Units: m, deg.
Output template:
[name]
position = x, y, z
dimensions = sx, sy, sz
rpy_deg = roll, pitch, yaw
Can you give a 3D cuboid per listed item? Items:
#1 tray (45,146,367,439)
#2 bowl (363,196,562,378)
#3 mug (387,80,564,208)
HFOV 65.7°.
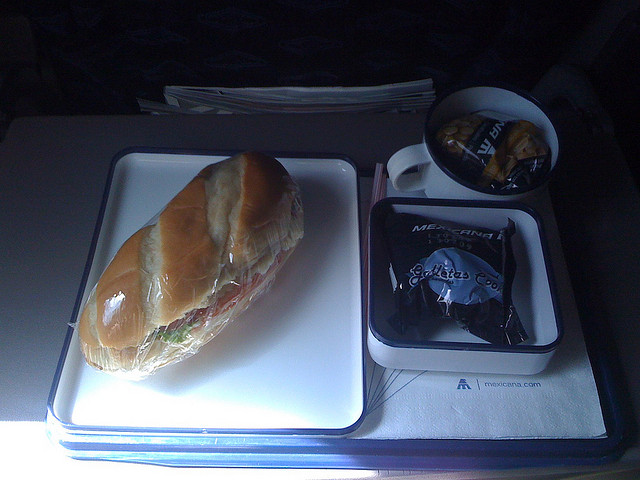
[tray]
position = -0.132, 0.056, 0.687
dimensions = 0.442, 0.044, 0.472
rpy_deg = -11, 63, -11
[bowl]
position = 0.172, 0.047, 0.629
dimensions = 0.221, 0.061, 0.222
rpy_deg = 0, 69, 1
[mug]
position = 0.210, -0.150, 0.757
dimensions = 0.256, 0.170, 0.209
rpy_deg = 4, 40, 4
